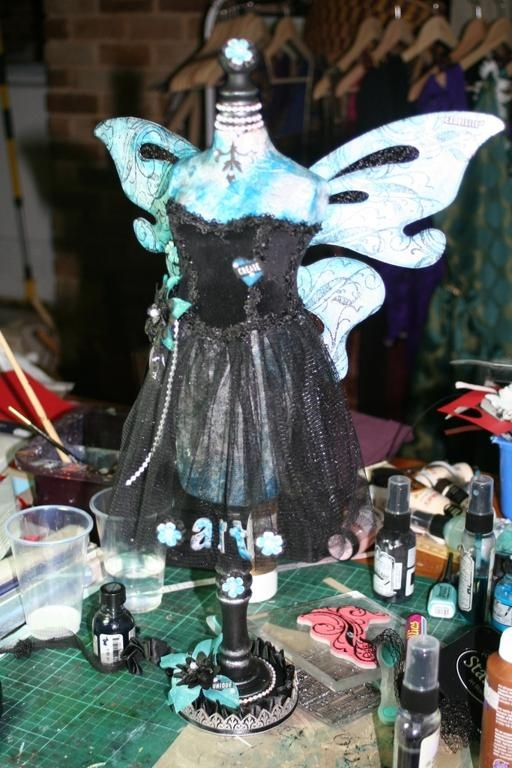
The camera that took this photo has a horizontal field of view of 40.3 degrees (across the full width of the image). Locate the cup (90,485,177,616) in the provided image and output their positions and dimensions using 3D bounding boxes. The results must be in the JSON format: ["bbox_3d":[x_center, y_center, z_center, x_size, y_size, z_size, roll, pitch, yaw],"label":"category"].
[{"bbox_3d":[-0.192,0.271,1.056,0.134,0.149,0.122,-2,-9,-8],"label":"cup"}]

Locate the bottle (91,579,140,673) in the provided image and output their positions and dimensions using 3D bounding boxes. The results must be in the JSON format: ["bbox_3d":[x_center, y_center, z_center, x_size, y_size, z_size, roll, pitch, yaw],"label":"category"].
[{"bbox_3d":[-0.183,0.314,0.894,0.052,0.111,0.049,2,12,0],"label":"bottle"}]

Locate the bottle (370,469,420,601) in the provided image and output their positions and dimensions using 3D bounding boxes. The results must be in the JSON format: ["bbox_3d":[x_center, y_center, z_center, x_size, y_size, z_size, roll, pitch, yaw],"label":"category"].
[{"bbox_3d":[0.208,0.220,1.031,0.062,0.195,0.085,2,17,10],"label":"bottle"}]

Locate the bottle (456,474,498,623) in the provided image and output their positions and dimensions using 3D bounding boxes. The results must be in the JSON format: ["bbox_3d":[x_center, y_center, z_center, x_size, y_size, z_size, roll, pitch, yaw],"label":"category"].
[{"bbox_3d":[0.307,0.230,0.963,0.044,0.204,0.052,4,17,17],"label":"bottle"}]

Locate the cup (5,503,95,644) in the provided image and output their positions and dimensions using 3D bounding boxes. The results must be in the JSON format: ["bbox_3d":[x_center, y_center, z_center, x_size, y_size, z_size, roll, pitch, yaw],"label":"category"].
[{"bbox_3d":[-0.292,0.261,0.995,0.117,0.157,0.130,0,16,4],"label":"cup"}]

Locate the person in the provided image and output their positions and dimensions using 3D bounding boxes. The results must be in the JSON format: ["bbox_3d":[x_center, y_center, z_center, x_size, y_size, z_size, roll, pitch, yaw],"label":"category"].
[{"bbox_3d":[-0.061,-0.047,0.878,0.373,0.675,0.301,9,19,30],"label":"person"}]
